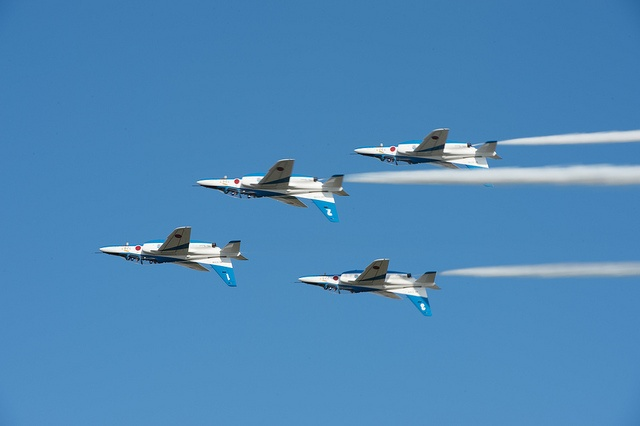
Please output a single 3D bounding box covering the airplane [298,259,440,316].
[{"bbox_3d":[2.937,4.427,70.376,8.318,1.750,7.421,4,-7,9],"label":"airplane"}]
